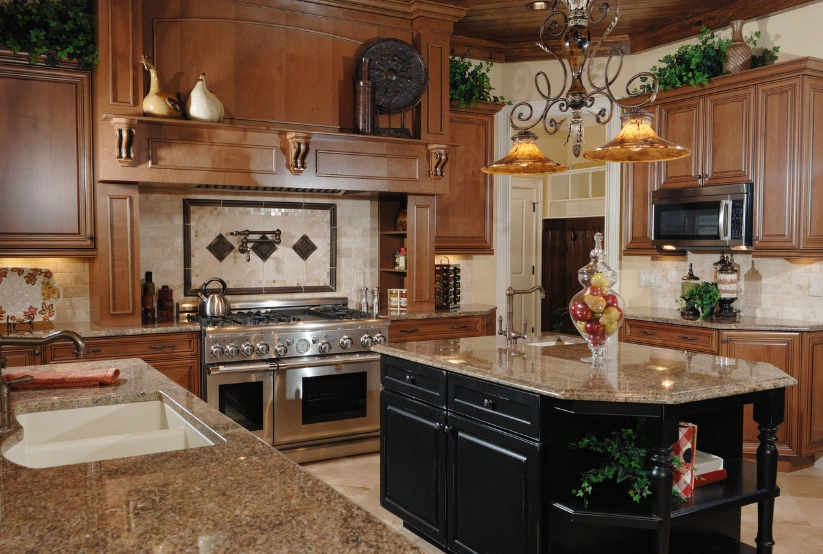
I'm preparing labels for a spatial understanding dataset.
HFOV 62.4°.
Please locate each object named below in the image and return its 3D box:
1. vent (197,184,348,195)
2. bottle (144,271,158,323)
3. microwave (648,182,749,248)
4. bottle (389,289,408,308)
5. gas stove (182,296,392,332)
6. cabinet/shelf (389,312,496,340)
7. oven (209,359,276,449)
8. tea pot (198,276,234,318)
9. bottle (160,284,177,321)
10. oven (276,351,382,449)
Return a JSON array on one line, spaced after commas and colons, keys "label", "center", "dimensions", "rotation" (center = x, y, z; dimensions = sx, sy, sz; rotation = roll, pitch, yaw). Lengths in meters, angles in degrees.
[{"label": "vent", "center": [-1.231, -0.799, 6.251], "dimensions": [1.369, 0.073, 0.482], "rotation": [-3, 3, -25]}, {"label": "bottle", "center": [-2.259, 0.159, 5.893], "dimensions": [0.117, 0.426, 0.404], "rotation": [-4, 4, -21]}, {"label": "microwave", "center": [2.641, -0.550, 6.305], "dimensions": [0.565, 0.637, 0.993], "rotation": [2, -1, -31]}, {"label": "bottle", "center": [-0.123, 0.207, 6.623], "dimensions": [0.187, 0.161, 0.100], "rotation": [2, 6, 24]}, {"label": "gas stove", "center": [-1.184, 0.288, 6.184], "dimensions": [1.631, 0.208, 0.900], "rotation": [-3, 3, -22]}, {"label": "cabinet/shelf", "center": [0.278, 0.460, 6.512], "dimensions": [1.061, 0.237, 0.104], "rotation": [-3, 4, -29]}, {"label": "oven", "center": [-1.309, 1.043, 5.733], "dimensions": [0.593, 0.735, 0.537], "rotation": [-4, -13, 6]}, {"label": "tea pot", "center": [-1.799, 0.179, 6.057], "dimensions": [0.417, 0.397, 0.282], "rotation": [-2, 6, -33]}, {"label": "bottle", "center": [-2.168, 0.211, 6.045], "dimensions": [0.146, 0.290, 0.223], "rotation": [-3, 4, -17]}, {"label": "oven", "center": [-0.851, 0.924, 6.250], "dimensions": [1.266, 0.833, 0.694], "rotation": [0, 0, -28]}]
